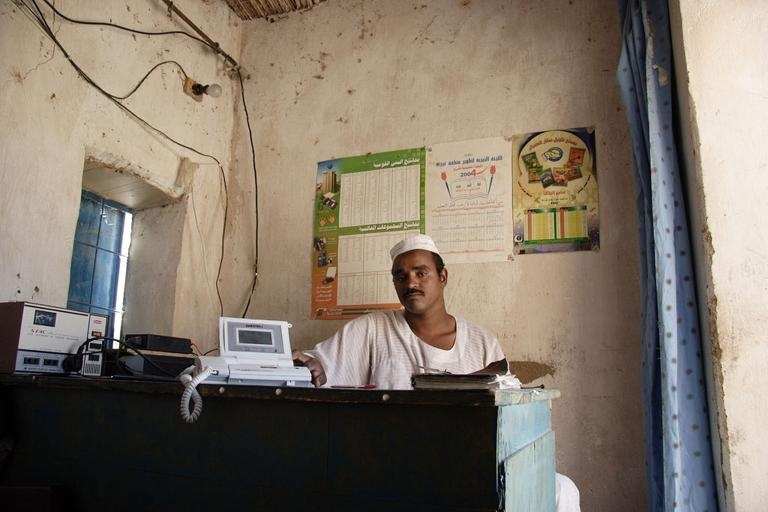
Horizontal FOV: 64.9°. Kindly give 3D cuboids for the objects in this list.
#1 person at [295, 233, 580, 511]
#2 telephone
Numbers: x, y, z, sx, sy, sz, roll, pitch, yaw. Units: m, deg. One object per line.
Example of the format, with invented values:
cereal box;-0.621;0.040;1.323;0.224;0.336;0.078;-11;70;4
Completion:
person;0.327;0.499;2.735;0.940;1.430;0.559;-15;-52;8
telephone;-0.529;0.381;2.421;0.421;0.255;0.308;8;-10;-32
